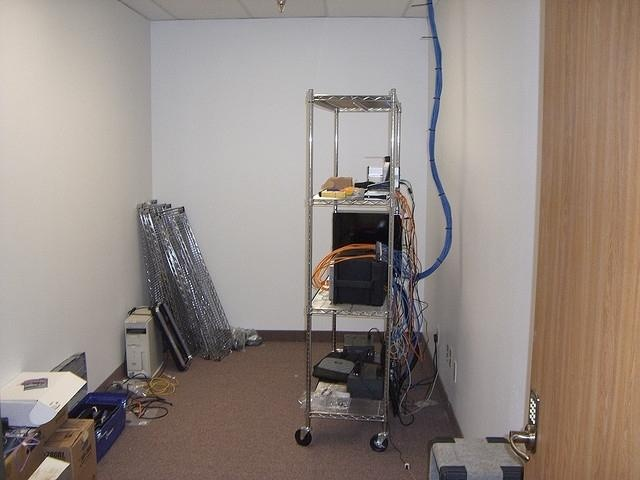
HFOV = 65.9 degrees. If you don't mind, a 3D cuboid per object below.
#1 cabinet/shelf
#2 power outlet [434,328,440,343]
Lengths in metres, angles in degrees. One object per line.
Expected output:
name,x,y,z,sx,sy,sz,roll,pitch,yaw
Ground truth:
cabinet/shelf,0.223,0.099,3.619,0.730,2.297,1.505,1,10,2
power outlet,0.952,0.772,3.998,0.025,0.083,0.082,4,-5,-4
